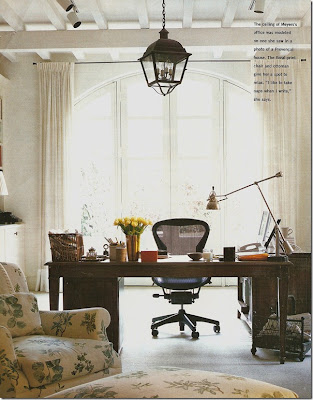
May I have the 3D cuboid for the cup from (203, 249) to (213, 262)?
[{"bbox_3d":[0.355,0.377,2.976,0.062,0.066,0.060,-3,10,1],"label":"cup"}]

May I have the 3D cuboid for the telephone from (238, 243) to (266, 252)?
[{"bbox_3d":[0.700,0.353,3.181,0.147,0.055,0.088,-2,3,-4],"label":"telephone"}]

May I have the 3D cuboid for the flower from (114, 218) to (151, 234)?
[{"bbox_3d":[-0.155,0.177,2.969,0.256,0.123,0.189,-1,2,-37],"label":"flower"}]

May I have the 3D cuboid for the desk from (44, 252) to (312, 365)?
[{"bbox_3d":[0.060,0.731,3.202,1.706,0.680,0.578,0,7,-3],"label":"desk"}]
